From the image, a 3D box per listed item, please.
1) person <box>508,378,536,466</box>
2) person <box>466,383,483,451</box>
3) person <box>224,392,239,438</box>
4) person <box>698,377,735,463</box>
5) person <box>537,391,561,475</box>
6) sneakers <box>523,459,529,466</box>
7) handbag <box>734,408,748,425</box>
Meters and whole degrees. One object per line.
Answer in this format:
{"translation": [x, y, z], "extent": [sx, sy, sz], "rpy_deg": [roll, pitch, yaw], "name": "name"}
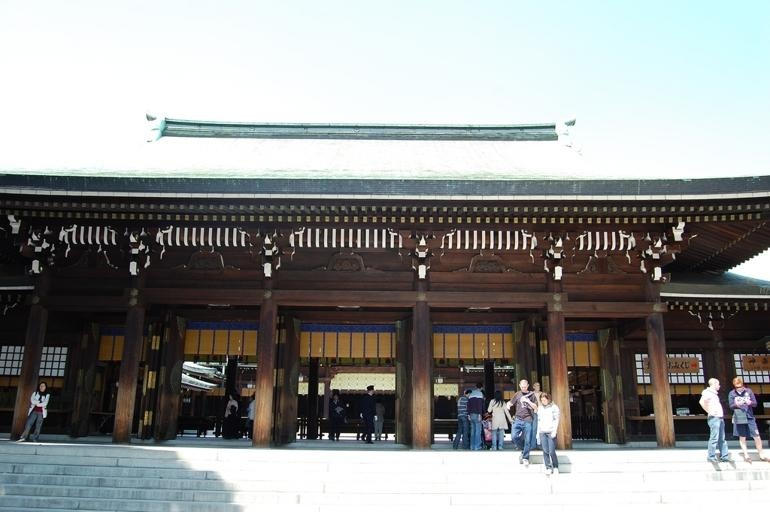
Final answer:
{"translation": [3.228, 3.797, 14.585], "extent": [0.637, 1.903, 1.141], "rpy_deg": [-4, -20, 12], "name": "person"}
{"translation": [2.416, 4.255, 16.873], "extent": [0.395, 1.698, 0.709], "rpy_deg": [-2, -20, 7], "name": "person"}
{"translation": [-4.888, 5.181, 20.239], "extent": [0.443, 1.249, 0.649], "rpy_deg": [5, -20, -13], "name": "person"}
{"translation": [7.421, 3.680, 14.304], "extent": [0.487, 1.922, 1.039], "rpy_deg": [-9, -21, 25], "name": "person"}
{"translation": [3.587, 3.880, 13.911], "extent": [0.445, 1.697, 0.591], "rpy_deg": [-3, -20, 10], "name": "person"}
{"translation": [3.132, 4.556, 13.995], "extent": [0.145, 0.157, 0.050], "rpy_deg": [8, -21, -20], "name": "sneakers"}
{"translation": [8.072, 3.640, 14.393], "extent": [0.329, 0.316, 0.190], "rpy_deg": [-10, -22, 28], "name": "handbag"}
